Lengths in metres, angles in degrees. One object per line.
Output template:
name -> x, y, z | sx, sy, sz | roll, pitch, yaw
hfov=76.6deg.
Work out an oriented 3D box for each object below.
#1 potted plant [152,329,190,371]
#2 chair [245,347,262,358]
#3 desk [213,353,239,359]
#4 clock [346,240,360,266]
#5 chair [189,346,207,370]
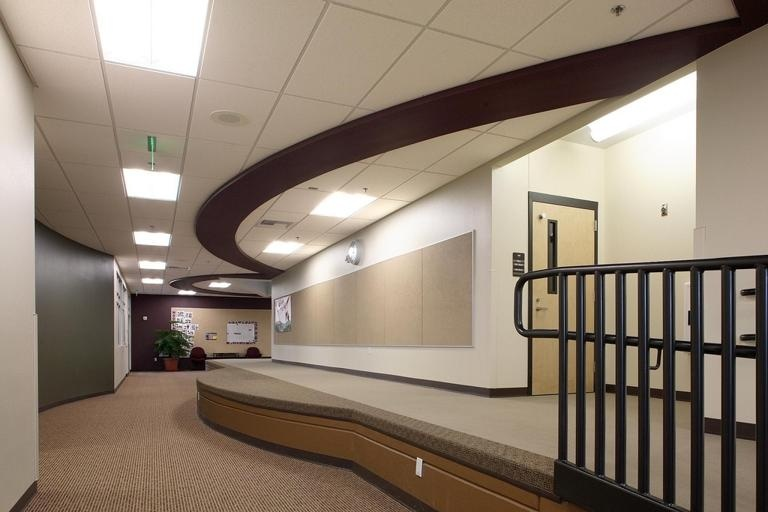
potted plant -> -9.299, 4.119, 21.425 | 1.601, 1.801, 1.437 | 7, -11, -39
chair -> -5.977, 4.382, 22.100 | 0.457, 0.583, 0.602 | 2, 16, -8
desk -> -7.229, 4.485, 22.241 | 1.245, 0.246, 0.352 | 3, -11, -20
clock -> -0.685, -0.060, 10.444 | 0.155, 0.499, 0.621 | 2, -10, -18
chair -> -8.244, 4.499, 21.522 | 0.668, 1.000, 0.703 | 3, -10, -23
